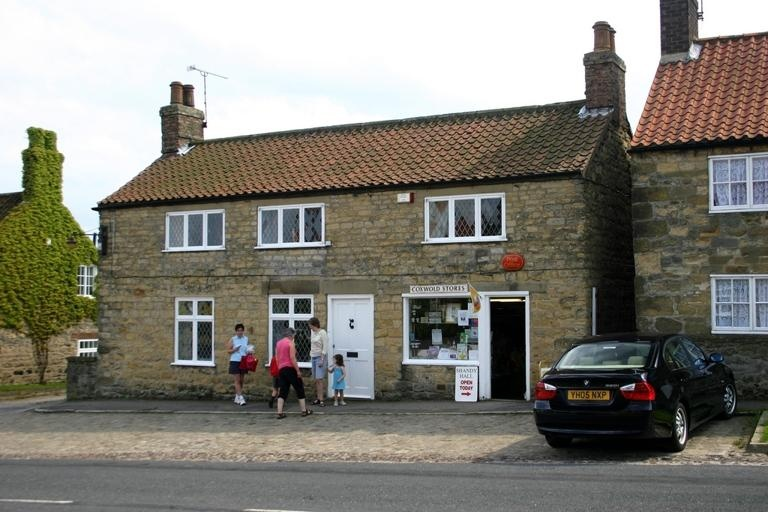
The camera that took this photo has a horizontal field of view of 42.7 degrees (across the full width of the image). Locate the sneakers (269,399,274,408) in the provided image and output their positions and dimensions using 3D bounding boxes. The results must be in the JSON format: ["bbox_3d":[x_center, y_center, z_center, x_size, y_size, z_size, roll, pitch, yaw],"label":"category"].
[{"bbox_3d":[-3.204,4.150,27.883,0.175,0.239,0.087,12,20,29],"label":"sneakers"}]

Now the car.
[{"bbox_3d":[5.593,2.875,21.344,4.392,2.340,2.171,-5,4,-34],"label":"car"}]

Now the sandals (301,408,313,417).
[{"bbox_3d":[-2.103,4.162,26.446,0.129,0.138,0.375,2,6,20],"label":"sandals"}]

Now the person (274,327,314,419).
[{"bbox_3d":[-2.418,3.048,26.302,1.121,2.240,0.902,0,-7,-15],"label":"person"}]

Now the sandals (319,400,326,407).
[{"bbox_3d":[-1.751,4.136,27.816,0.111,0.128,0.320,-3,-14,-1],"label":"sandals"}]

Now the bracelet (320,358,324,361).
[{"bbox_3d":[-1.764,2.869,27.652,0.079,0.050,0.045,5,-12,-7],"label":"bracelet"}]

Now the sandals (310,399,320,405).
[{"bbox_3d":[-1.907,4.102,27.936,0.113,0.118,0.322,4,-4,-40],"label":"sandals"}]

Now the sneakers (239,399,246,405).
[{"bbox_3d":[-4.159,4.220,28.734,0.159,0.170,0.416,4,-11,-30],"label":"sneakers"}]

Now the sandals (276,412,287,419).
[{"bbox_3d":[-2.739,4.205,26.223,0.110,0.102,0.259,1,2,21],"label":"sandals"}]

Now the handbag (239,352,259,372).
[{"bbox_3d":[-4.005,3.069,28.818,0.614,0.712,0.382,5,11,-13],"label":"handbag"}]

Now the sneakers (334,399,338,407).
[{"bbox_3d":[-1.364,4.117,27.837,0.140,0.203,0.315,-2,-12,10],"label":"sneakers"}]
